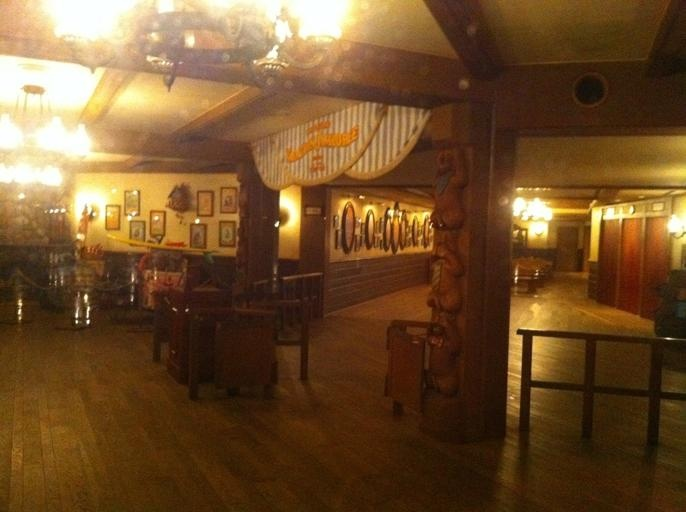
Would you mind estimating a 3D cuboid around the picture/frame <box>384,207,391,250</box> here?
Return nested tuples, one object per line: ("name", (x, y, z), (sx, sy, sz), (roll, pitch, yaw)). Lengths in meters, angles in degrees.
("picture/frame", (1.212, -0.783, 14.989), (0.111, 1.210, 0.617), (3, 6, 15))

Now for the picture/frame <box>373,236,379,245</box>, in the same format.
("picture/frame", (0.842, -0.419, 14.212), (0.152, 0.286, 0.285), (0, 1, 20))

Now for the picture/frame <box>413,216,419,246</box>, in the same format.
("picture/frame", (2.312, -0.792, 17.570), (0.101, 0.928, 0.624), (3, 6, 16))

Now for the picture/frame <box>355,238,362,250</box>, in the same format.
("picture/frame", (0.373, -0.314, 13.053), (0.068, 0.253, 0.259), (3, 12, 19))

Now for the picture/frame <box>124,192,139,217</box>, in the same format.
("picture/frame", (-5.146, -1.296, 13.097), (0.537, 0.747, 0.081), (5, 8, 23))

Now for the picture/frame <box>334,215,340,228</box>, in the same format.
("picture/frame", (-0.154, -0.783, 11.839), (0.147, 0.263, 0.271), (-1, -2, 20))

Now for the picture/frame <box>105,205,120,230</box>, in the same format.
("picture/frame", (-5.688, -0.979, 13.315), (0.565, 0.759, 0.084), (4, 7, 33))

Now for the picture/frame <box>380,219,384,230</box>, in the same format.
("picture/frame", (1.054, -0.891, 14.623), (0.058, 0.236, 0.231), (4, 7, 24))

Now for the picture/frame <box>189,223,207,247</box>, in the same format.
("picture/frame", (-3.342, -0.499, 12.446), (0.523, 0.720, 0.073), (2, 5, 19))

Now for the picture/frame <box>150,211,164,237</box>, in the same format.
("picture/frame", (-4.447, -0.798, 12.829), (0.507, 0.620, 0.171), (6, 7, 31))

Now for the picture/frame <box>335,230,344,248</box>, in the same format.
("picture/frame", (-0.095, -0.392, 12.031), (0.078, 0.405, 0.296), (4, 6, 20))

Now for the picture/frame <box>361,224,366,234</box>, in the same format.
("picture/frame", (0.515, -0.681, 13.377), (0.058, 0.252, 0.292), (3, 6, 14))

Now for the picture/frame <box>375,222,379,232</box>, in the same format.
("picture/frame", (0.905, -0.776, 14.338), (0.066, 0.253, 0.354), (3, 6, 14))
